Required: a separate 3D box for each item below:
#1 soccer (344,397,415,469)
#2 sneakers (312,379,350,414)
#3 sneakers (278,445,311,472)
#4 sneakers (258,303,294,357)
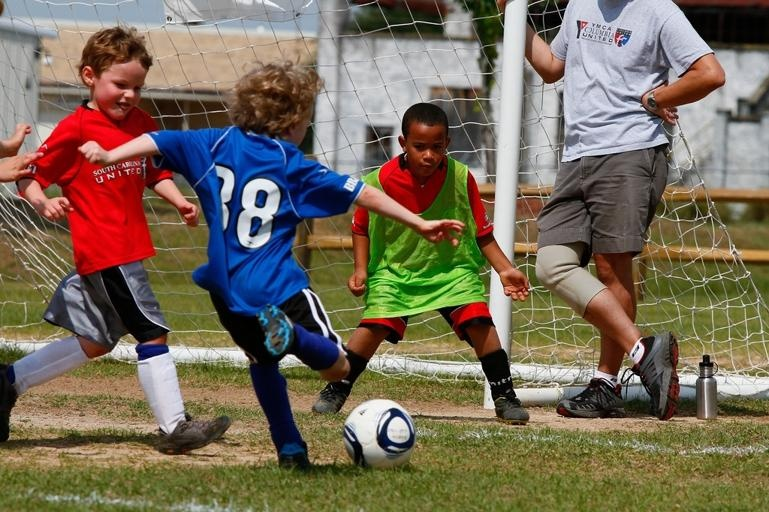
[{"bbox_3d":[-0.028,1.035,5.719,0.444,0.433,0.427,-7,-16,17],"label":"soccer"},{"bbox_3d":[-0.357,0.961,6.740,0.137,0.165,0.400,30,11,19],"label":"sneakers"},{"bbox_3d":[-0.499,1.100,5.404,0.088,0.092,0.221,0,-1,5],"label":"sneakers"},{"bbox_3d":[-0.552,0.391,5.254,0.150,0.263,0.114,-19,-17,-1],"label":"sneakers"}]
